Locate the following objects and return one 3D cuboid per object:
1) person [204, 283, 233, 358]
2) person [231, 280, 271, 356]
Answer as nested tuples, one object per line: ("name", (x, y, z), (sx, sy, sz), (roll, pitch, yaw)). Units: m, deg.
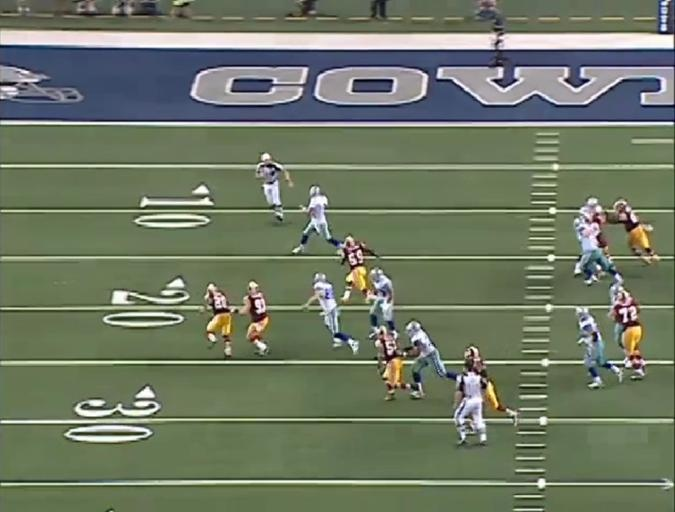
("person", (-2.954, 1.554, 50.831), (0.746, 1.694, 0.633), (-7, 22, -28))
("person", (-2.055, 1.534, 50.791), (0.711, 1.586, 1.368), (0, -19, -2))
